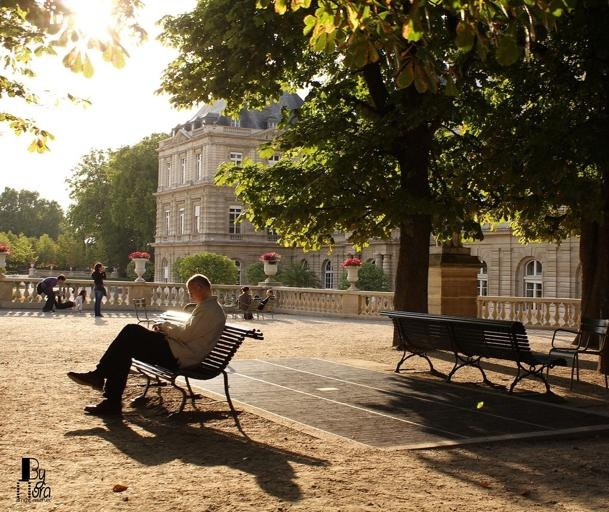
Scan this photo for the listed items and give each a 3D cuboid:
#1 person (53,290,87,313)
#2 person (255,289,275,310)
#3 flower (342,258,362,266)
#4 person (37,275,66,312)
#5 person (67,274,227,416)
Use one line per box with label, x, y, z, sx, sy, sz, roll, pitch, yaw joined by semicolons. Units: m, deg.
person;-8.536;1.734;24.700;0.915;0.576;1.174;1;0;-4
person;-1.481;1.545;24.236;0.634;0.718;0.692;-6;11;-41
flower;1.937;0.246;27.358;0.643;0.381;0.607;1;-1;-11
person;-9.107;1.325;24.222;0.839;1.306;1.758;2;-5;-22
person;-1.649;0.935;7.216;1.689;1.505;0.723;4;-8;-2
